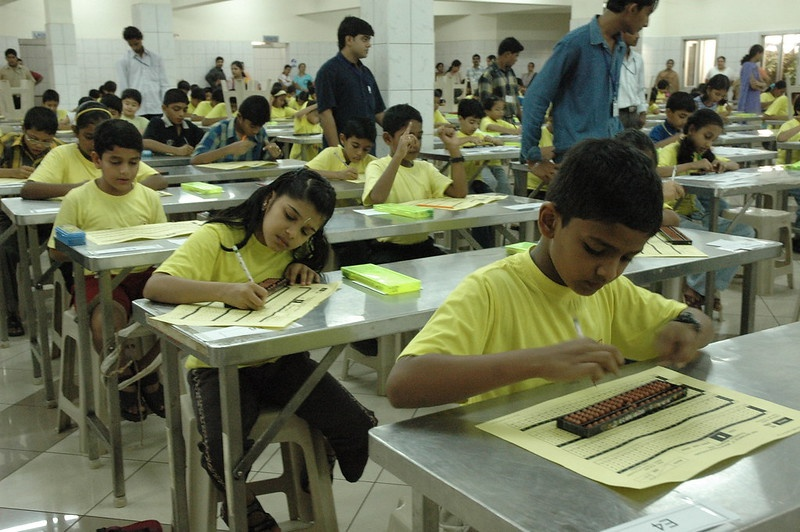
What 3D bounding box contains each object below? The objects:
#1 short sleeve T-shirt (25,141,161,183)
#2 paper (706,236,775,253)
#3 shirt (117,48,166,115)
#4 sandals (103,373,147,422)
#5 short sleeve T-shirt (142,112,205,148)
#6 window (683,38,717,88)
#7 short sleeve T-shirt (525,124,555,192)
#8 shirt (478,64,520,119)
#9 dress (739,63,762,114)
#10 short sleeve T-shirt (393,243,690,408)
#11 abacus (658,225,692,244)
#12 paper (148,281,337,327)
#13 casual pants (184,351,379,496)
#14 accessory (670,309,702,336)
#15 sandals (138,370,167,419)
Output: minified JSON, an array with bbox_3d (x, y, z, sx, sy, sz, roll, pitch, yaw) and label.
[{"bbox_3d":[-1.858,-0.560,3.688,0.562,0.164,0.300,-1,15,-25],"label":"short sleeve T-shirt"},{"bbox_3d":[1.401,-0.091,2.724,0.291,0.026,0.212,-7,15,-33],"label":"paper"},{"bbox_3d":[-3.631,-2.620,9.314,0.690,0.897,0.378,-12,22,-30],"label":"shirt"},{"bbox_3d":[-1.265,0.616,3.051,0.118,0.109,0.313,-9,14,-40],"label":"sandals"},{"bbox_3d":[-1.960,-1.159,5.691,0.354,0.255,0.653,29,28,26],"label":"short sleeve T-shirt"},{"bbox_3d":[7.317,-4.951,16.056,0.812,1.354,0.110,9,40,30],"label":"window"},{"bbox_3d":[1.351,-1.023,5.976,0.192,0.604,0.207,9,-11,-20],"label":"short sleeve T-shirt"},{"bbox_3d":[1.161,-2.010,7.558,0.622,0.707,0.306,-15,21,-34],"label":"shirt"},{"bbox_3d":[5.857,-2.961,10.904,0.390,0.822,0.909,9,15,26],"label":"dress"},{"bbox_3d":[0.361,0.171,1.688,0.913,0.366,0.228,-5,8,-29],"label":"short sleeve T-shirt"},{"bbox_3d":[1.167,-0.126,2.782,0.074,0.018,0.133,1,20,2],"label":"abacus"},{"bbox_3d":[-0.473,0.117,2.074,0.497,0.043,0.427,2,12,3],"label":"paper"},{"bbox_3d":[-0.408,0.435,2.267,0.543,0.430,0.499,-6,17,-17],"label":"casual pants"},{"bbox_3d":[0.750,0.150,1.715,0.050,0.044,0.057,-7,10,0],"label":"accessory"},{"bbox_3d":[-1.210,0.564,3.160,0.153,0.105,0.409,2,8,-19],"label":"sandals"}]
